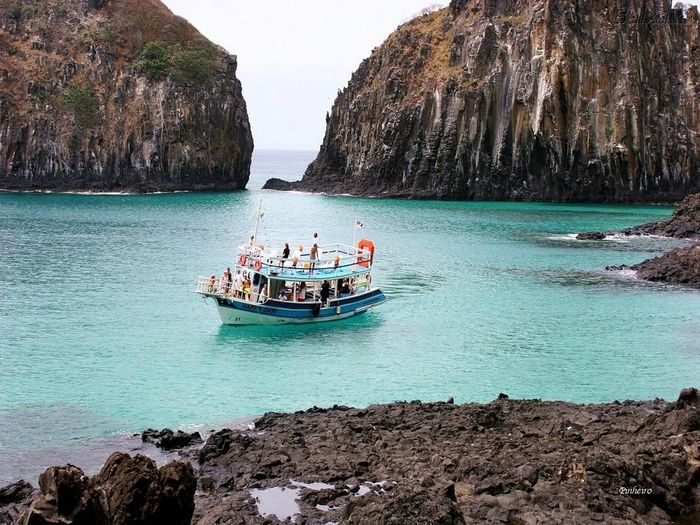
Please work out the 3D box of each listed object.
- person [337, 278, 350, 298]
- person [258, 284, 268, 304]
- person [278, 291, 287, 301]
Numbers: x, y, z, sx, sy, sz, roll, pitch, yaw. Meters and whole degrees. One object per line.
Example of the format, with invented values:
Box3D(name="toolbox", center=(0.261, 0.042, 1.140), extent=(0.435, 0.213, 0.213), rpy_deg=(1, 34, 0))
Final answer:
Box3D(name="person", center=(-0.484, 1.721, 44.963), extent=(0.726, 1.218, 0.597), rpy_deg=(7, 1, -11))
Box3D(name="person", center=(-5.646, 1.934, 41.945), extent=(0.628, 1.151, 0.550), rpy_deg=(-3, 11, -8))
Box3D(name="person", center=(-4.451, 2.075, 42.858), extent=(0.415, 0.628, 0.908), rpy_deg=(1, 10, 12))
